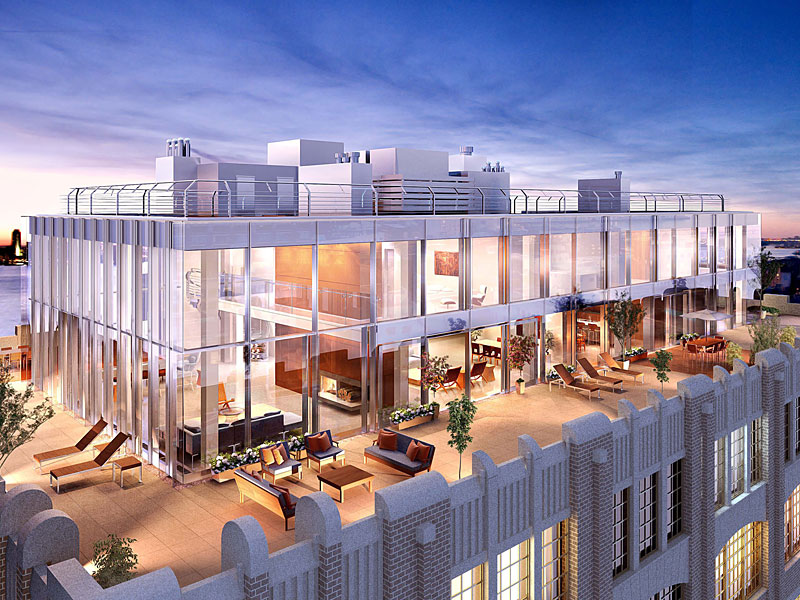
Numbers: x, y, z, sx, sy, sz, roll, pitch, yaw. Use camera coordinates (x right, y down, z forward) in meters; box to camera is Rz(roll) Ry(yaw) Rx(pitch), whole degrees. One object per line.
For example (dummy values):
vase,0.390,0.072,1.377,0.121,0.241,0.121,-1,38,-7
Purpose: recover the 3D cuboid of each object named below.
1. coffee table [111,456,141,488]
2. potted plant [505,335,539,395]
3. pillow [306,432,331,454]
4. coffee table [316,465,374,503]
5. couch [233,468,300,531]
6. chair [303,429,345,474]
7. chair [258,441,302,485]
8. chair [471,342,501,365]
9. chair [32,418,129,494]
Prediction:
coffee table,-8.015,4.964,18.698,0.872,0.839,0.655,-1,-1,-43
potted plant,5.145,2.572,26.628,1.774,2.135,0.965,-6,7,-43
pillow,-2.482,4.182,19.243,0.860,0.544,0.414,-1,0,-43
coffee table,-1.588,4.924,17.408,0.953,0.450,0.960,6,9,44
couch,-3.425,5.090,16.076,0.721,0.907,1.821,-4,8,-39
chair,-2.214,4.600,19.273,1.218,1.189,0.962,-2,3,-42
chair,-3.468,4.865,18.634,0.951,1.173,1.162,0,0,44
chair,3.657,2.273,26.878,1.286,0.719,0.883,6,10,34
chair,-8.956,4.655,18.192,0.764,1.266,1.990,7,5,42
